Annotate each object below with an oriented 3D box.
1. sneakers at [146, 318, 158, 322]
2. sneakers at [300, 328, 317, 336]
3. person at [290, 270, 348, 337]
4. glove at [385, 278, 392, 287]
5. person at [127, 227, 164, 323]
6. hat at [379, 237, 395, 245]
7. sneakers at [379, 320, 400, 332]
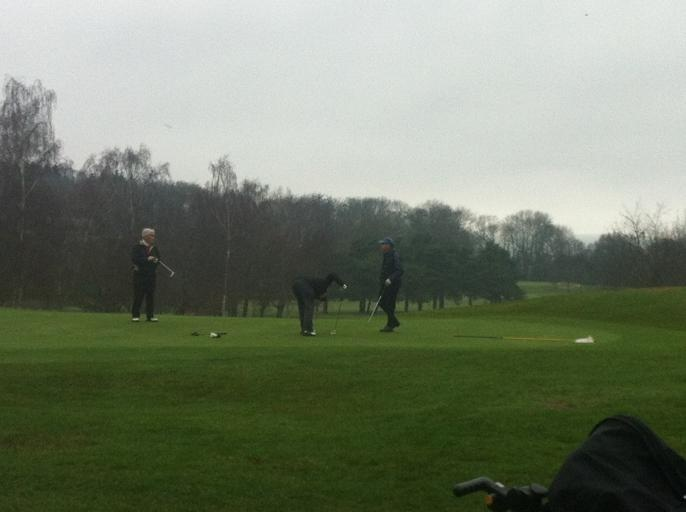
[{"bbox_3d":[-4.862,1.630,24.384,0.216,0.097,0.081,-9,-8,36],"label":"sneakers"},{"bbox_3d":[-0.766,1.759,21.810,0.368,0.245,0.126,-6,-10,23],"label":"sneakers"},{"bbox_3d":[-0.623,1.158,22.584,0.939,1.003,1.995,-5,3,3],"label":"person"},{"bbox_3d":[1.160,0.675,24.644,0.122,0.179,0.156,4,-8,-28],"label":"glove"},{"bbox_3d":[-5.141,0.493,24.802,0.711,1.953,1.564,-5,3,-6],"label":"person"},{"bbox_3d":[1.158,-0.398,25.137,0.364,0.190,0.239,5,-2,2],"label":"hat"},{"bbox_3d":[1.181,1.809,23.984,0.621,0.284,0.208,-18,4,-43],"label":"sneakers"}]
